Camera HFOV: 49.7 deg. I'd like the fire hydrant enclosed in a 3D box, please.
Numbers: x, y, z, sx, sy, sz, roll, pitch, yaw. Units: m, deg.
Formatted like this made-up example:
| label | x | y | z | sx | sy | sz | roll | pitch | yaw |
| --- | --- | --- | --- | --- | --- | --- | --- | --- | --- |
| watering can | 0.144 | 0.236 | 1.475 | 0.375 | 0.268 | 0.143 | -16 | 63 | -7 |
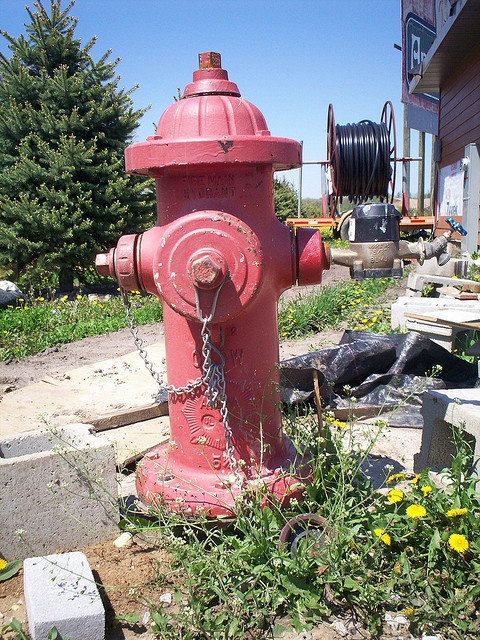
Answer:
| label | x | y | z | sx | sy | sz | roll | pitch | yaw |
| --- | --- | --- | --- | --- | --- | --- | --- | --- | --- |
| fire hydrant | -0.066 | -0.122 | 1.914 | 0.838 | 1.789 | 0.619 | -5 | 6 | -12 |
